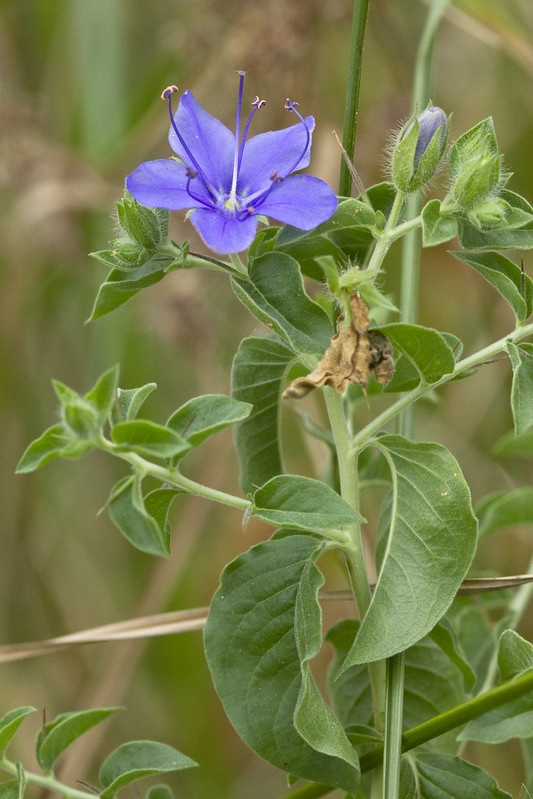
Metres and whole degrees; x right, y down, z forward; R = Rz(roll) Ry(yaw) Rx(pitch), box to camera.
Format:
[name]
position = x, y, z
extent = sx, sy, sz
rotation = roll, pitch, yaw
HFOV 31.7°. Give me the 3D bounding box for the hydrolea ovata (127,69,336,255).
[hydrolea ovata]
position = -0.071, -0.309, 1.262
extent = 0.258, 0.181, 0.269
rotation = -4, -20, -17
